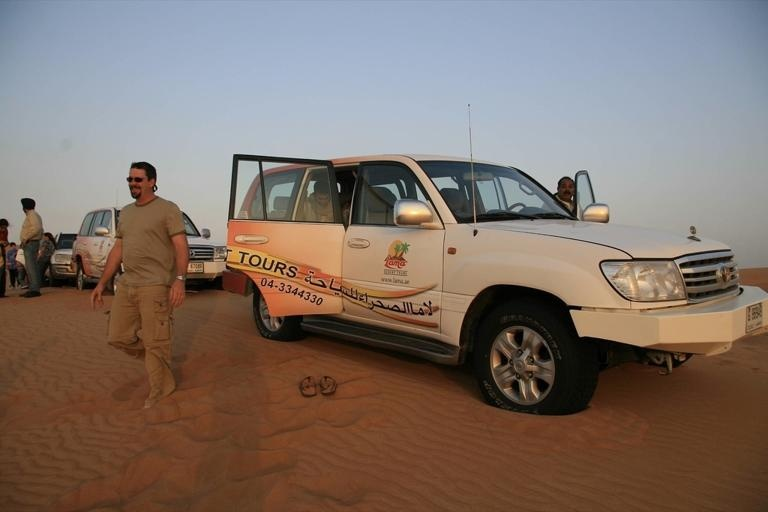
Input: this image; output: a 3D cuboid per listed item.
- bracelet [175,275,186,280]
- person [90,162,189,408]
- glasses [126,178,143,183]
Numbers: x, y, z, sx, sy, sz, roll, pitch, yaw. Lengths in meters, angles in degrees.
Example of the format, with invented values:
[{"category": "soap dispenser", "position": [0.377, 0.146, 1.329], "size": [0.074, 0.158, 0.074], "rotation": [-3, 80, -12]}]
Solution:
[{"category": "bracelet", "position": [-2.460, 0.259, 5.553], "size": [0.094, 0.056, 0.091], "rotation": [0, -7, 13]}, {"category": "person", "position": [-2.937, 0.318, 5.686], "size": [1.023, 2.886, 0.737], "rotation": [-3, 11, -9]}, {"category": "glasses", "position": [-3.042, -0.938, 5.595], "size": [0.180, 0.074, 0.053], "rotation": [1, 11, 10]}]
